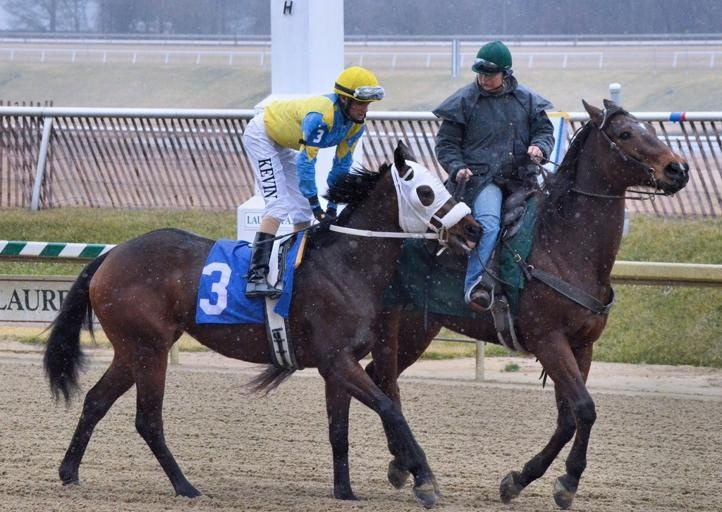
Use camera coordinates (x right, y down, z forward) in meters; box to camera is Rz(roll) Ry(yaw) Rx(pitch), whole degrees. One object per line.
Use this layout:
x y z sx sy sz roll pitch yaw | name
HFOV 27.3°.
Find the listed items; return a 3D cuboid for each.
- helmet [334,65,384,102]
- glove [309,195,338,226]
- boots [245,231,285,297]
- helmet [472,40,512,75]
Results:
-0.033 -1.895 16.076 0.461 0.303 0.613 -5 21 -30 | helmet
-0.429 -0.478 16.092 0.227 0.110 0.305 -7 54 -41 | glove
-1.064 0.100 15.928 0.381 0.656 0.340 -1 13 -5 | boots
1.411 -2.194 16.235 0.394 0.318 0.534 21 21 33 | helmet
